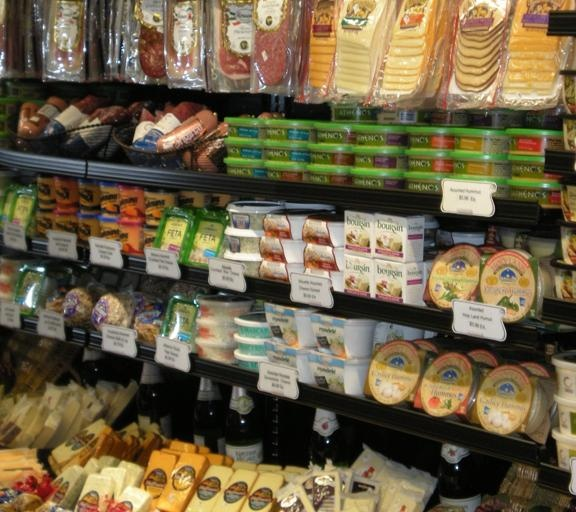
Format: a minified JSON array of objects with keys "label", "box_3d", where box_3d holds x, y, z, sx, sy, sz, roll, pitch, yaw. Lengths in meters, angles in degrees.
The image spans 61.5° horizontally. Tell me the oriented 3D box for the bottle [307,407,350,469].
[{"label":"bottle","box_3d":[0.160,0.761,2.090,0.158,0.445,0.138,1,44,8]}]
